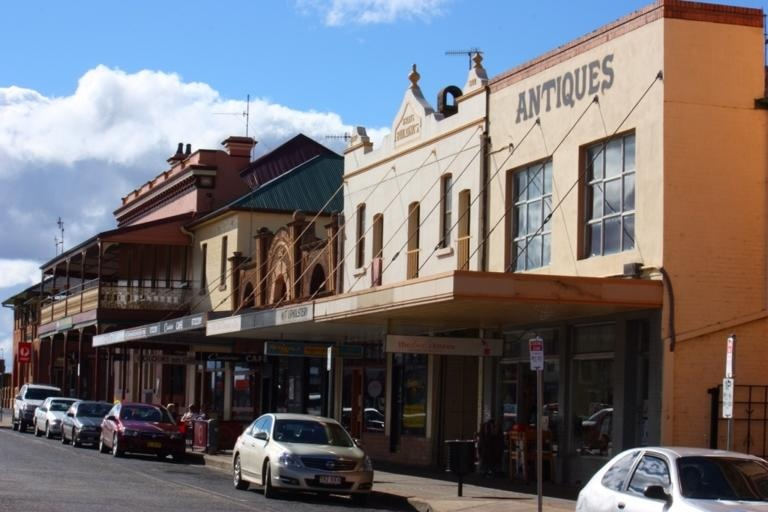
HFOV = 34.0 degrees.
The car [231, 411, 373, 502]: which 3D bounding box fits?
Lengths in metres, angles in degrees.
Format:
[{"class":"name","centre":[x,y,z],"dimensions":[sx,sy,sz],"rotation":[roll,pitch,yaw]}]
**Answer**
[{"class":"car","centre":[-1.931,4.824,30.336],"dimensions":[3.463,2.143,1.799],"rotation":[-2,-14,14]}]

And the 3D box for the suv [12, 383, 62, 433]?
[{"class":"suv","centre":[-14.664,6.308,52.383],"dimensions":[1.444,1.355,2.539],"rotation":[3,-12,-19]}]
